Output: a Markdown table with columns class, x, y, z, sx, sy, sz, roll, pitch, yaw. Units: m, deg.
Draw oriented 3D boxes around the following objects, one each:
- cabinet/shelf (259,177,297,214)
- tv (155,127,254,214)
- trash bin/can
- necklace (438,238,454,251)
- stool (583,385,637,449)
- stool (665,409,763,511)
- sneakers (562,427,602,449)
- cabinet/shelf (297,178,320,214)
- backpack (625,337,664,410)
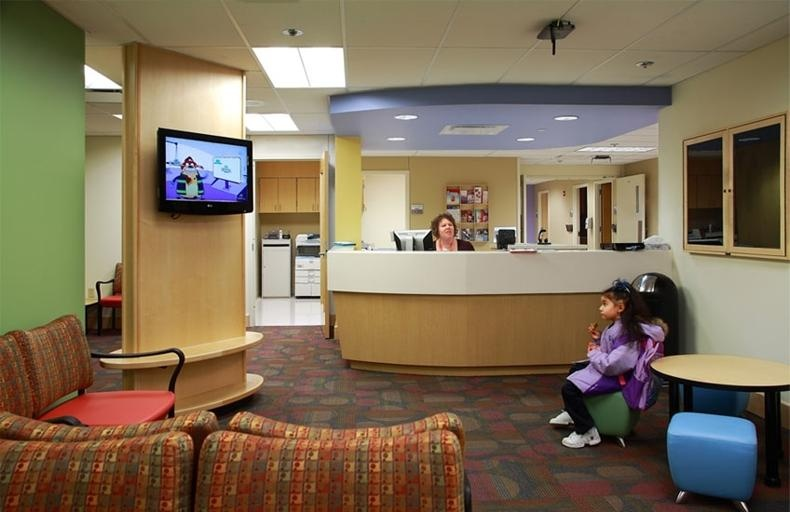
| class | x | y | z | sx | sy | sz | roll | pitch | yaw |
| --- | --- | --- | --- | --- | --- | --- | --- | --- | --- |
| cabinet/shelf | -2.597 | -1.348 | 12.026 | 0.873 | 0.703 | 0.310 | 1 | 4 | -3 |
| tv | -1.905 | -0.804 | 5.492 | 0.109 | 0.725 | 1.080 | -9 | -3 | 31 |
| trash bin/can | 3.003 | 0.724 | 6.293 | 0.732 | 1.101 | 0.708 | -4 | 6 | 19 |
| necklace | 0.640 | -0.142 | 6.901 | 0.168 | 0.077 | 0.202 | -1 | -2 | 3 |
| stool | 1.903 | 1.378 | 4.901 | 0.518 | 0.554 | 0.465 | -4 | 2 | -5 |
| stool | 2.333 | 1.436 | 4.281 | 0.827 | 0.732 | 0.631 | 0 | -2 | 22 |
| sneakers | 1.649 | 1.625 | 4.907 | 0.395 | 0.172 | 0.141 | 1 | -4 | -1 |
| cabinet/shelf | -1.944 | -1.345 | 12.084 | 0.471 | 0.734 | 0.216 | -2 | 13 | -3 |
| backpack | 2.140 | 1.030 | 4.842 | 0.449 | 0.535 | 0.611 | 3 | 4 | 15 |
